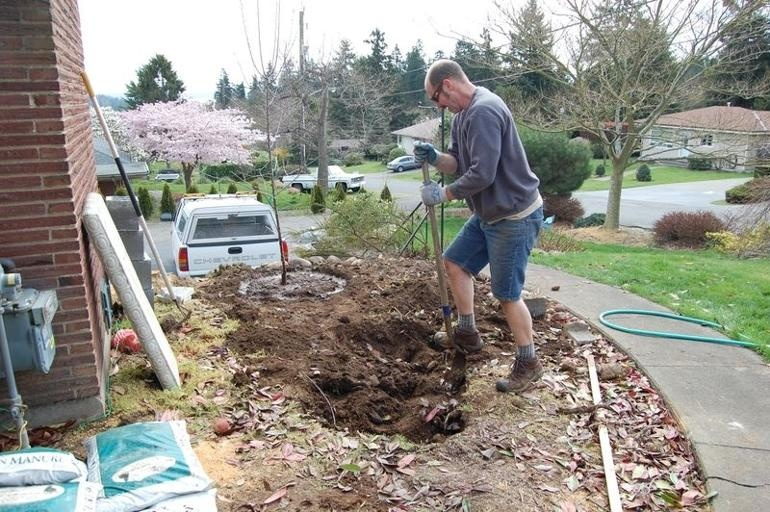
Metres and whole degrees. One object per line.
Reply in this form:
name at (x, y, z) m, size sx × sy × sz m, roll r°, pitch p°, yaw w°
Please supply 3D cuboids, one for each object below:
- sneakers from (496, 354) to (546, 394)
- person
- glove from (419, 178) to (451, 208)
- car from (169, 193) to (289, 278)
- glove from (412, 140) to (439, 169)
sneakers at (1.229, 1.050, 4.908) m, size 0.597 × 0.263 × 0.248 m, roll -15°, pitch 17°, yaw -37°
person at (0.895, -0.331, 5.011) m, size 1.099 × 2.983 × 1.067 m, roll -1°, pitch 12°, yaw 4°
glove at (0.511, -0.610, 5.208) m, size 0.271 × 0.202 × 0.117 m, roll 10°, pitch 57°, yaw 37°
car at (-2.867, -0.027, 9.927) m, size 1.757 × 1.546 × 3.235 m, roll -5°, pitch -2°, yaw -19°
glove at (0.403, -1.025, 5.375) m, size 0.173 × 0.317 × 0.124 m, roll 4°, pitch 44°, yaw 7°
